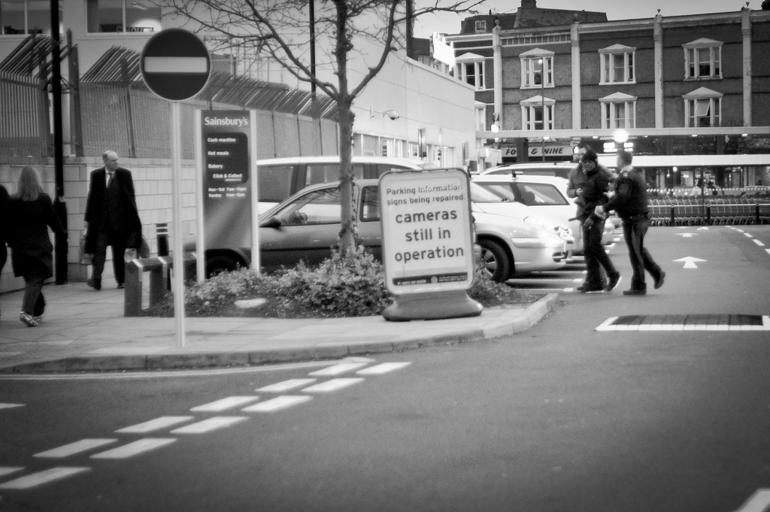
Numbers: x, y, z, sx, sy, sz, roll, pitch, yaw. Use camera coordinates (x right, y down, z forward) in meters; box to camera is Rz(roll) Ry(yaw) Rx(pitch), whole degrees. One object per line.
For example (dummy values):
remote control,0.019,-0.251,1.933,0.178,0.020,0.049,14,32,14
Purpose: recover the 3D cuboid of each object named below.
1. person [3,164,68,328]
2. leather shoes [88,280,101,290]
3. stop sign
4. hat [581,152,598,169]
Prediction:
person,-5.433,-0.177,11.934,0.761,2.428,0.731,-2,5,-27
leather shoes,-5.948,0.580,15.801,0.245,0.164,0.136,10,23,38
stop sign,-2.678,-2.459,9.824,0.864,0.946,0.220,0,4,0
hat,3.975,-1.843,14.964,0.242,0.359,0.300,-1,-1,17
